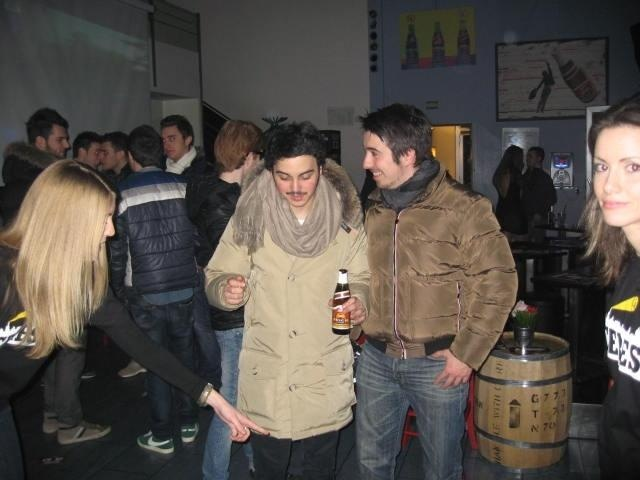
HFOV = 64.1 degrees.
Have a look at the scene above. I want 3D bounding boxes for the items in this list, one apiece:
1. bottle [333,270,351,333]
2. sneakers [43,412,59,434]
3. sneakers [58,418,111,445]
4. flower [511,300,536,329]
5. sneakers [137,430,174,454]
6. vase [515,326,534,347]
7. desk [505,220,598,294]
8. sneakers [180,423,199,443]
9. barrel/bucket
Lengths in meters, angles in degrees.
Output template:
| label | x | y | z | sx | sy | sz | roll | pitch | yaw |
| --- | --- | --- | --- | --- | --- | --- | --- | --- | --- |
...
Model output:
| label | x | y | z | sx | sy | sz | roll | pitch | yaw |
| --- | --- | --- | --- | --- | --- | --- | --- | --- | --- |
| bottle | 0.096 | 0.273 | 2.299 | 0.082 | 0.294 | 0.138 | -1 | 10 | 4 |
| sneakers | -2.070 | 1.405 | 3.912 | 0.109 | 0.084 | 0.191 | 1 | 37 | -27 |
| sneakers | -1.755 | 1.424 | 3.857 | 0.395 | 0.150 | 0.142 | 0 | 4 | -23 |
| flower | 1.342 | 0.492 | 3.362 | 0.190 | 0.184 | 0.186 | 7 | -7 | -19 |
| sneakers | -1.170 | 1.446 | 3.706 | 0.305 | 0.136 | 0.115 | 10 | 12 | 20 |
| vase | 1.279 | 0.601 | 3.212 | 0.129 | 0.130 | 0.116 | 5 | -6 | -35 |
| desk | 2.368 | 0.178 | 5.288 | 0.599 | 0.569 | 0.906 | -6 | 9 | -26 |
| sneakers | -0.957 | 1.403 | 3.735 | 0.068 | 0.075 | 0.180 | 1 | 2 | 1 |
| barrel/bucket | 1.215 | 1.035 | 3.478 | 0.758 | 0.820 | 0.776 | 0 | 2 | 0 |
